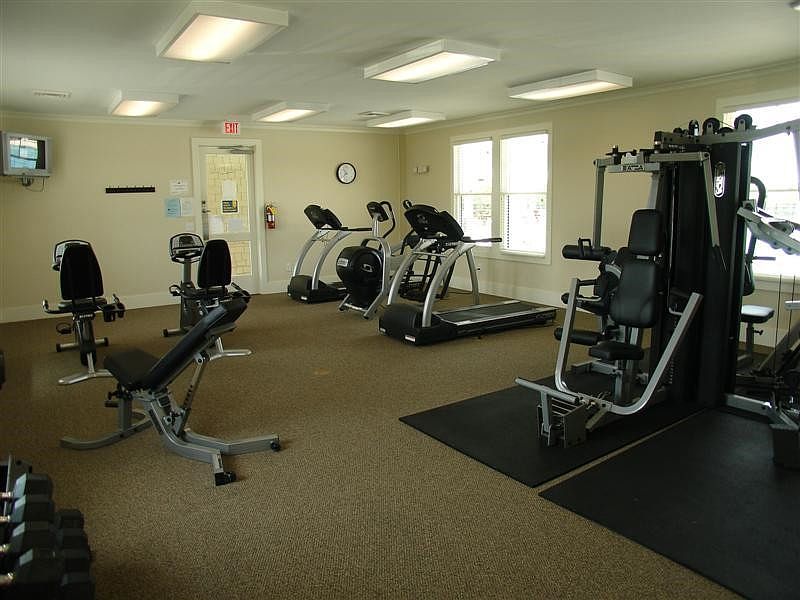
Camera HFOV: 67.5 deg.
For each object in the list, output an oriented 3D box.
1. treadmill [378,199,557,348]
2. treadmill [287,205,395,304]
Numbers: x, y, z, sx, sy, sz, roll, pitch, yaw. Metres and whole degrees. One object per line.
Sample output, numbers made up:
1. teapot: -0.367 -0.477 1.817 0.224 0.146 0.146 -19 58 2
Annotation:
1. treadmill: 0.876 -0.401 7.568 2.169 1.569 1.323 -7 11 -30
2. treadmill: -0.716 -0.786 9.611 2.075 1.939 1.236 -8 13 -35
